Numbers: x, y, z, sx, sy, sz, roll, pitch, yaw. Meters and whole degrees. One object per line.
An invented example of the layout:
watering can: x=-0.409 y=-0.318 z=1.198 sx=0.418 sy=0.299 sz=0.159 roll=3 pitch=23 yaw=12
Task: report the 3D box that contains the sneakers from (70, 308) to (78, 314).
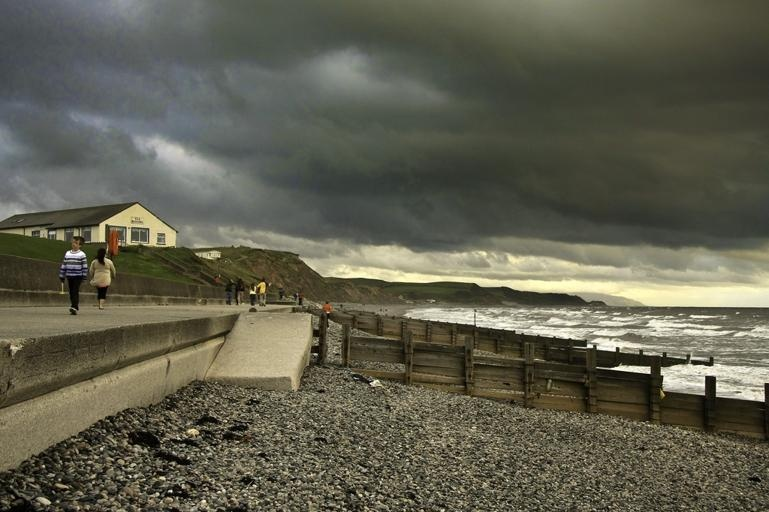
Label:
sneakers: x=-8.597 y=1.531 z=18.312 sx=0.143 sy=0.163 sz=0.415 roll=-1 pitch=-2 yaw=-9
